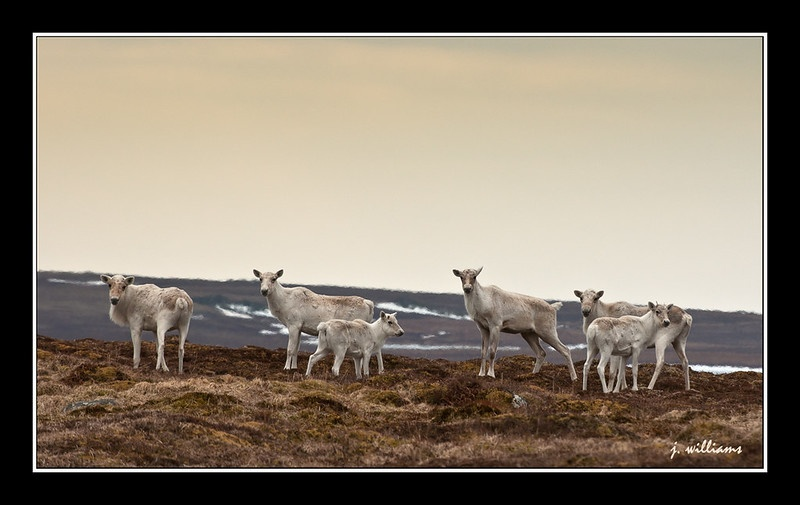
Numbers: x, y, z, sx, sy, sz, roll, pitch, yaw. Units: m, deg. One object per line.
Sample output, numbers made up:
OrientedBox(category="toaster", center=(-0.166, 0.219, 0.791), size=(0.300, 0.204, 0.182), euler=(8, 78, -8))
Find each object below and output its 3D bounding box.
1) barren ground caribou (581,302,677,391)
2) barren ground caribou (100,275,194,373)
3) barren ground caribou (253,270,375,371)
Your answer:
OrientedBox(category="barren ground caribou", center=(8.665, 3.690, 35.713), size=(3.212, 3.557, 0.982), euler=(4, -3, -20))
OrientedBox(category="barren ground caribou", center=(-10.273, 2.909, 37.763), size=(3.286, 3.809, 1.985), euler=(4, -3, -14))
OrientedBox(category="barren ground caribou", center=(-3.964, 3.197, 40.611), size=(5.943, 4.159, 1.923), euler=(7, -7, -28))
